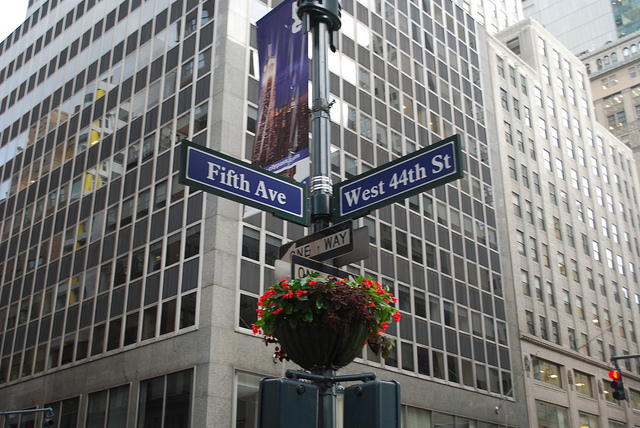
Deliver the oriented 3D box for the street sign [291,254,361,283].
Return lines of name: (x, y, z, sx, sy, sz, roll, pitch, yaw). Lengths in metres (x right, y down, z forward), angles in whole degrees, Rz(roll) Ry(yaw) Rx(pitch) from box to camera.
street sign: (-0.093, 2.084, 24.618, 2.324, 1.224, 0.032, 7, 2, 36)
